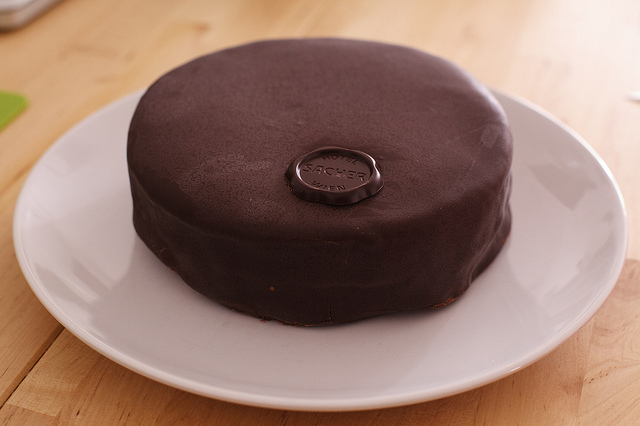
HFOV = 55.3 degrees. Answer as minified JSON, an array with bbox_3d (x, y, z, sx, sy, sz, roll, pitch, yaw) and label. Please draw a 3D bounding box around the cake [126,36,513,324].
[{"bbox_3d":[-0.003,-0.073,1.100,0.669,0.245,0.541,2,55,8],"label":"cake"}]
